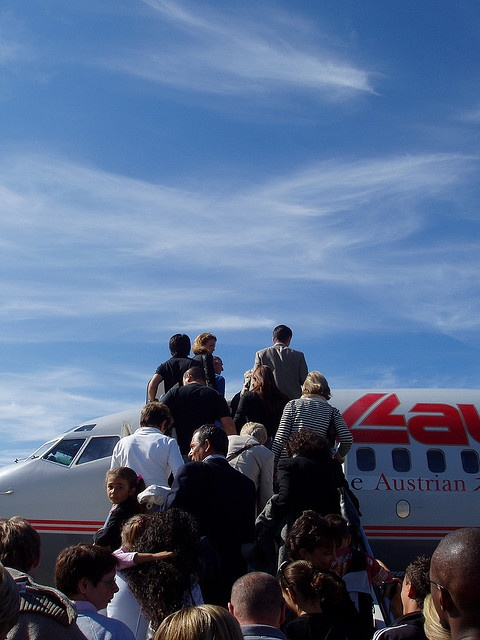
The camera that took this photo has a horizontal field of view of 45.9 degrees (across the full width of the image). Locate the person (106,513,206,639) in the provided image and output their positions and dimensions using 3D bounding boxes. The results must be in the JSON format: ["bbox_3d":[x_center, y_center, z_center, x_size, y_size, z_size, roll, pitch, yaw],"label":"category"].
[{"bbox_3d":[-0.520,1.572,3.462,0.383,0.270,1.067,-1,-7,-6],"label":"person"}]

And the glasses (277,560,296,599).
[{"bbox_3d":[0.322,1.900,4.141,0.073,0.198,0.211,-8,-9,9],"label":"glasses"}]
